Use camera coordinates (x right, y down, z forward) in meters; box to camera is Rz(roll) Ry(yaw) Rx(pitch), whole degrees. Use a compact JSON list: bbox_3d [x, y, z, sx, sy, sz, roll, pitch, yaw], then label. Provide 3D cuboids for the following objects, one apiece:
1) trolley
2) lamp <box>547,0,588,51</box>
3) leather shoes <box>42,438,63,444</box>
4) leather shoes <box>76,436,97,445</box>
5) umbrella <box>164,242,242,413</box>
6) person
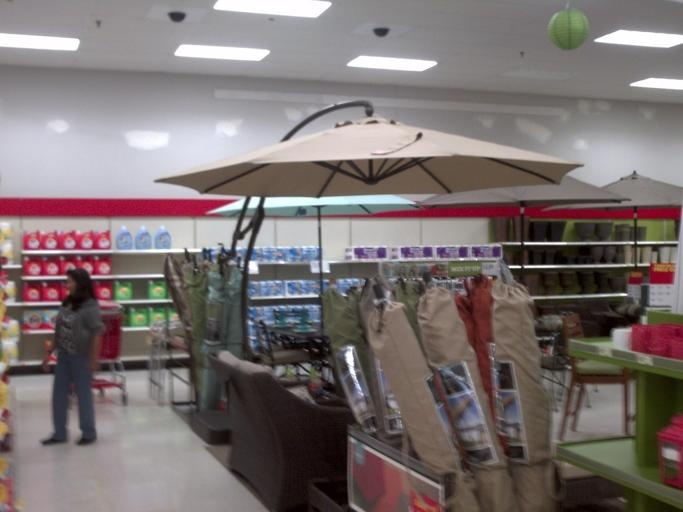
[{"bbox_3d":[-2.850,1.196,6.426,0.677,0.927,0.654,2,-6,-43],"label":"trolley"},{"bbox_3d":[2.353,-2.387,5.645,0.282,0.399,0.310,-2,2,-42],"label":"lamp"},{"bbox_3d":[-2.796,1.798,5.238,0.133,0.055,0.077,9,-9,-24],"label":"leather shoes"},{"bbox_3d":[-2.470,1.789,5.235,0.162,0.066,0.103,-2,2,-31],"label":"leather shoes"},{"bbox_3d":[-1.464,0.800,5.859,0.427,1.731,1.124,-2,2,-38],"label":"umbrella"},{"bbox_3d":[-2.618,0.976,5.305,0.591,1.691,0.272,-1,2,-2],"label":"person"}]
